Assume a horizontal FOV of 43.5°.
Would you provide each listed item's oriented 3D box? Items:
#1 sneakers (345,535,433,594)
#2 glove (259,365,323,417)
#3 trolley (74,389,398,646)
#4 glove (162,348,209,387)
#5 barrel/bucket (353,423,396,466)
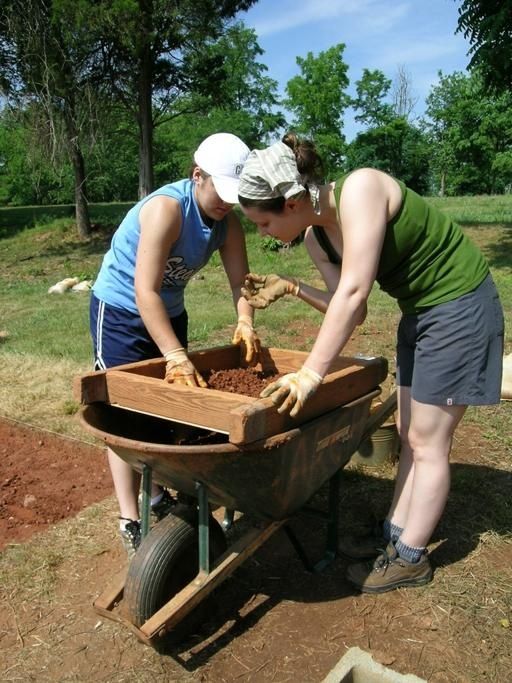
[{"bbox_3d":[0.620,1.048,3.037,0.455,0.211,0.181,-3,22,3],"label":"sneakers"},{"bbox_3d":[0.133,0.168,2.385,0.245,0.139,0.087,-38,14,-6],"label":"glove"},{"bbox_3d":[-0.031,0.670,3.099,1.131,0.913,1.901,-1,7,26],"label":"trolley"},{"bbox_3d":[-0.301,0.120,2.701,0.131,0.057,0.190,-27,48,-27],"label":"glove"},{"bbox_3d":[0.845,0.684,4.394,0.382,0.241,0.328,2,13,14],"label":"barrel/bucket"}]
